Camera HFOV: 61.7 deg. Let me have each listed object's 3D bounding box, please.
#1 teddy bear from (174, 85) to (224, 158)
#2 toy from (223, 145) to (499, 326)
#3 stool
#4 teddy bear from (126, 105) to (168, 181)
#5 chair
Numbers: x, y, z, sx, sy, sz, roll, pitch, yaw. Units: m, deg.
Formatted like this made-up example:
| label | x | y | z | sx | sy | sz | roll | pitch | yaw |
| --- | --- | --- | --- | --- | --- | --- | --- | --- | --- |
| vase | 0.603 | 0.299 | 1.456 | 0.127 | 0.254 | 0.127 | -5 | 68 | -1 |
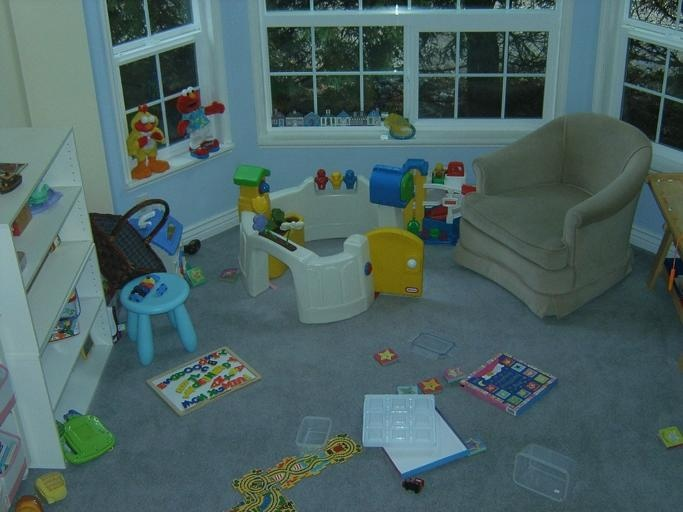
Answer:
| label | x | y | z | sx | sy | sz | roll | pitch | yaw |
| --- | --- | --- | --- | --- | --- | --- | --- | --- | --- |
| teddy bear | -1.218 | -1.139 | 4.799 | 0.188 | 0.454 | 0.383 | 31 | 55 | 32 |
| toy | -0.132 | -0.147 | 4.359 | 1.114 | 0.984 | 1.455 | -19 | 32 | -30 |
| stool | -1.184 | 0.391 | 3.748 | 0.403 | 0.438 | 0.395 | -14 | 34 | -23 |
| teddy bear | -1.540 | -0.886 | 4.463 | 0.241 | 0.550 | 0.341 | 36 | 50 | 23 |
| chair | 1.621 | -0.393 | 4.274 | 1.122 | 1.128 | 1.154 | -17 | 31 | -19 |
